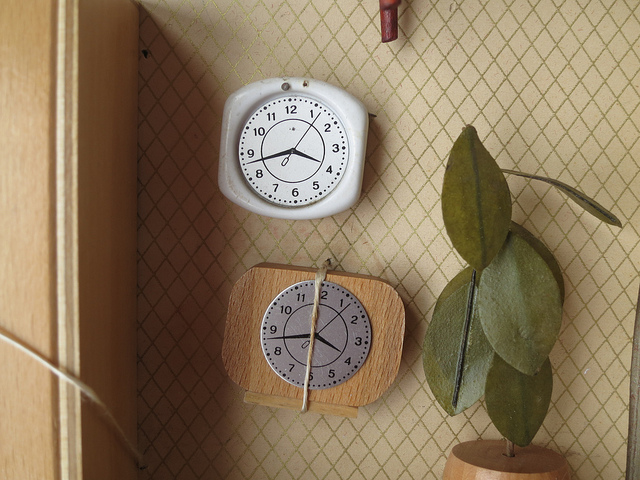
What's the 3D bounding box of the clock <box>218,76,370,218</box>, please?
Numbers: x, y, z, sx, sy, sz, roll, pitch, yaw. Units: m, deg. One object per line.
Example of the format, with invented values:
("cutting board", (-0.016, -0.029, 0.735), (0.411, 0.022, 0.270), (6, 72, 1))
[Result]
("clock", (-0.104, -0.380, 3.144), (0.501, 0.701, 0.185), (-3, 48, -5))
